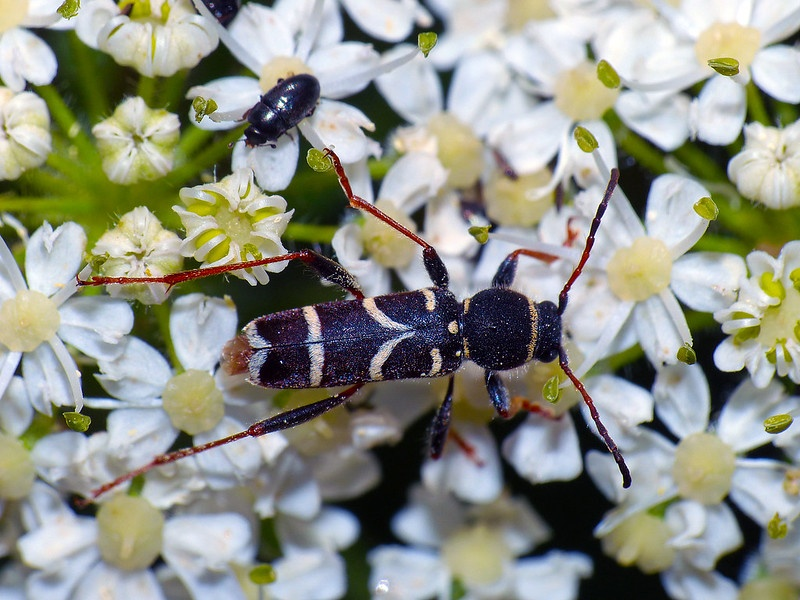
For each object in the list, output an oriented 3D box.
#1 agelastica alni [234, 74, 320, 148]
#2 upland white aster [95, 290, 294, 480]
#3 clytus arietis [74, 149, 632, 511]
[{"bbox_3d":[-0.645,-1.024,5.120,0.526,0.217,0.213,-43,-7,-3],"label":"agelastica alni"},{"bbox_3d":[-1.070,0.394,5.168,0.807,0.995,0.241,-1,16,-26],"label":"upland white aster"},{"bbox_3d":[-0.120,0.235,5.171,2.320,2.173,0.634,-5,4,-9],"label":"clytus arietis"}]
